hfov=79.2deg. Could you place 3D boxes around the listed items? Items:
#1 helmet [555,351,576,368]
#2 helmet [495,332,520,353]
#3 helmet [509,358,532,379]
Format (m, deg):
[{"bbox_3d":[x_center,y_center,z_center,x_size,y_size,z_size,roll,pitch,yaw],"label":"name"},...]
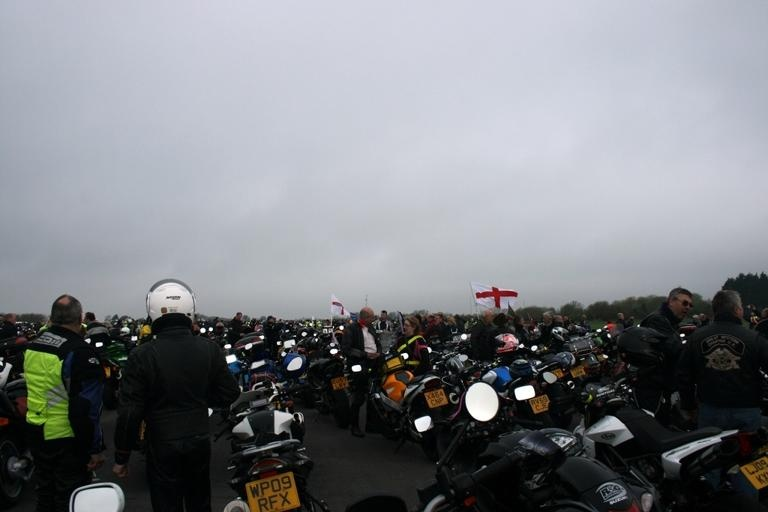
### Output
[{"bbox_3d":[3.220,1.653,8.236,0.343,0.153,0.244,4,15,-43],"label":"helmet"},{"bbox_3d":[2.750,1.803,10.511,0.451,0.329,0.348,-27,-10,-21],"label":"helmet"},{"bbox_3d":[2.357,1.792,7.981,0.291,0.269,0.279,9,0,-6],"label":"helmet"}]
